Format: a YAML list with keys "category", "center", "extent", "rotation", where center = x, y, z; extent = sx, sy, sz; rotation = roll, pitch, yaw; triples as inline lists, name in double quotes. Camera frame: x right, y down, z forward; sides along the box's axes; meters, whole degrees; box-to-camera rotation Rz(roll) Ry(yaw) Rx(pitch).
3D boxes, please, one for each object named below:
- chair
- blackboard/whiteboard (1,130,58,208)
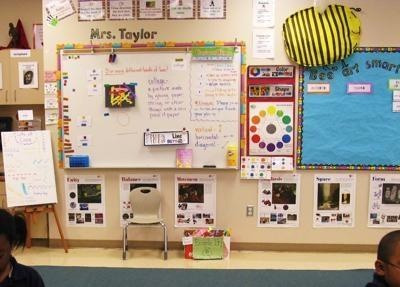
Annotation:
- category: "chair"
  center: [-0.666, 0.963, 5.161]
  extent: [0.646, 0.815, 0.632]
  rotation: [2, -3, -28]
- category: "blackboard/whiteboard"
  center: [-2.125, 0.313, 5.288]
  extent: [0.569, 0.923, 0.306]
  rotation: [-5, 9, -22]
